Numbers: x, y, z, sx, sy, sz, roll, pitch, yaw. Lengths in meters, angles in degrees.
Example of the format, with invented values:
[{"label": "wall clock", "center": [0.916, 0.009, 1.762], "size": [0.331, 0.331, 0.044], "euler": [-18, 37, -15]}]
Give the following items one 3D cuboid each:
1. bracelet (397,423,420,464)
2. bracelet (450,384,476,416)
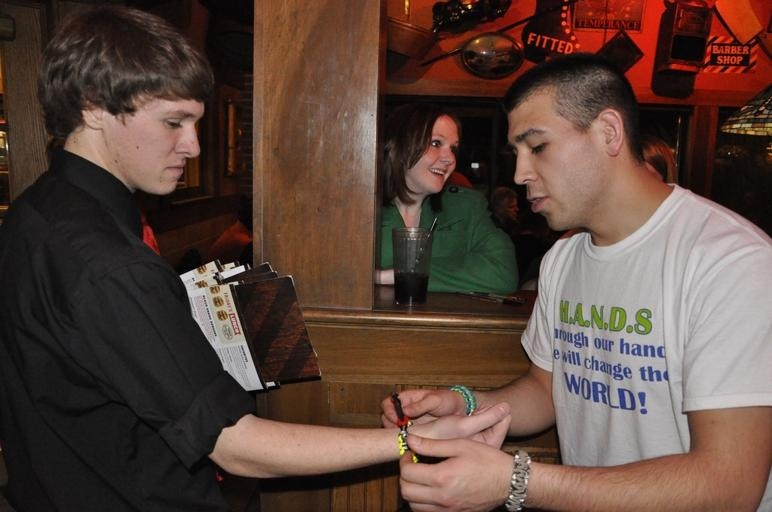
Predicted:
[{"label": "bracelet", "center": [0.045, 0.507, 1.647], "size": [0.046, 0.095, 0.072], "euler": [-10, 2, -9]}, {"label": "bracelet", "center": [0.243, 0.457, 1.929], "size": [0.072, 0.034, 0.085], "euler": [-8, 16, -30]}]
